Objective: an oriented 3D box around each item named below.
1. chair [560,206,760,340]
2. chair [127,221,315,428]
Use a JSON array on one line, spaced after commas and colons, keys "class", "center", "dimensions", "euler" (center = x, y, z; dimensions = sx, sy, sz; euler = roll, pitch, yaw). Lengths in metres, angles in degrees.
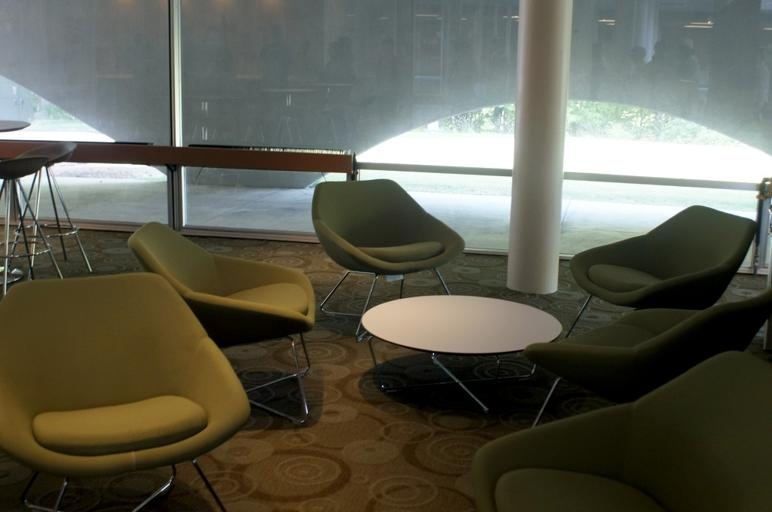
[{"class": "chair", "center": [2.095, 0.156, 4.046], "dimensions": [1.208, 0.809, 0.908], "euler": [-13, 20, -16]}, {"class": "chair", "center": [-0.999, 0.358, 3.494], "dimensions": [1.231, 0.969, 1.033], "euler": [-2, 16, -28]}]
